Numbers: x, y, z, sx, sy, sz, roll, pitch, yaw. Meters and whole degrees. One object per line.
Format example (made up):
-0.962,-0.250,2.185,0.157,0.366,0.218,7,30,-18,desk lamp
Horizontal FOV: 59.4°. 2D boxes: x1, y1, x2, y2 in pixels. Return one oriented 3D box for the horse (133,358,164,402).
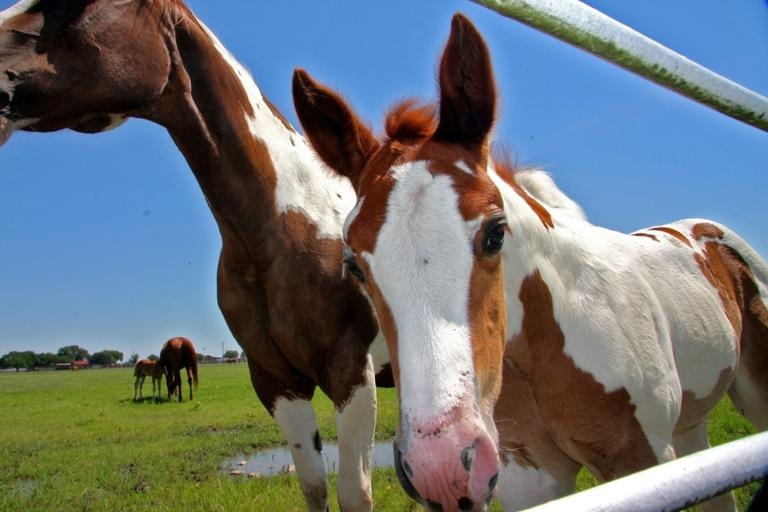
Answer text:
-6.581,3.422,19.177,1.197,1.110,0.326,-4,-7,16,horse
